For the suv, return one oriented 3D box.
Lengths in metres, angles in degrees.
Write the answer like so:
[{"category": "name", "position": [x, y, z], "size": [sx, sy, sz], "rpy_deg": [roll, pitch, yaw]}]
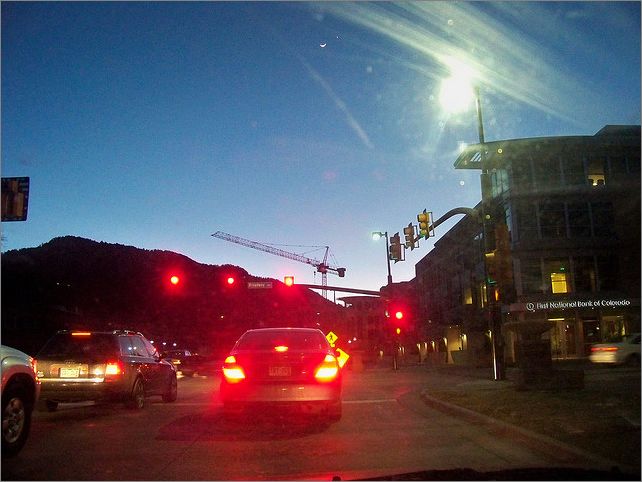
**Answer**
[{"category": "suv", "position": [-5.516, 3.355, 12.786], "size": [1.851, 2.046, 3.411], "rpy_deg": [-6, -15, 15]}]
